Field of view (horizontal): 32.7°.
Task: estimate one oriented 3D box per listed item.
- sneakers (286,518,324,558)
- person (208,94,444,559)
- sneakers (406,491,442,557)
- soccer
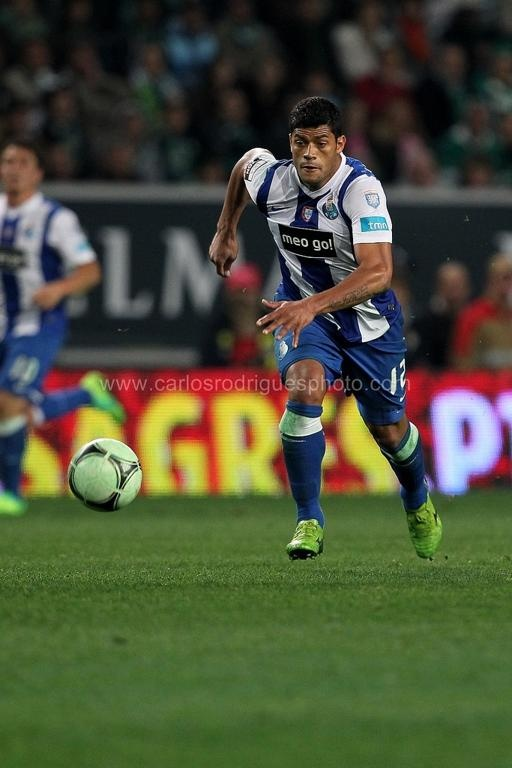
[{"bbox_3d":[0.186,0.616,3.374,0.131,0.167,0.252,0,-4,2],"label":"sneakers"},{"bbox_3d":[0.322,-0.176,3.440,0.895,1.808,1.119,0,-5,3],"label":"person"},{"bbox_3d":[0.728,0.629,3.816,0.133,0.290,0.104,34,-53,-29],"label":"sneakers"},{"bbox_3d":[-0.626,0.384,3.888,0.360,0.300,0.327,5,4,2],"label":"soccer"}]
